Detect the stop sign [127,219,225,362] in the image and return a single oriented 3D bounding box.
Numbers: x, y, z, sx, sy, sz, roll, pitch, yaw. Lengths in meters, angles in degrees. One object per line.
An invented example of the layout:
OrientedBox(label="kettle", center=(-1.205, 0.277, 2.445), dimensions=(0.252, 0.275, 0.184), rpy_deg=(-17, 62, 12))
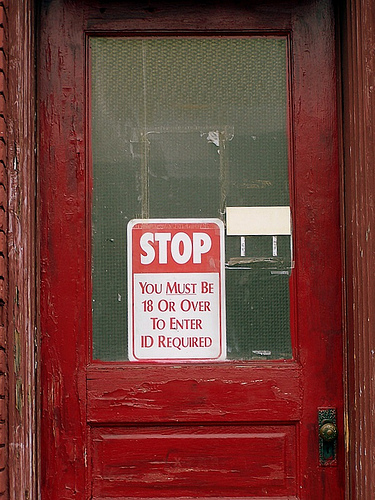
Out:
OrientedBox(label="stop sign", center=(-0.041, 0.140, 4.128), dimensions=(0.365, 0.630, 0.008), rpy_deg=(0, -33, -1))
